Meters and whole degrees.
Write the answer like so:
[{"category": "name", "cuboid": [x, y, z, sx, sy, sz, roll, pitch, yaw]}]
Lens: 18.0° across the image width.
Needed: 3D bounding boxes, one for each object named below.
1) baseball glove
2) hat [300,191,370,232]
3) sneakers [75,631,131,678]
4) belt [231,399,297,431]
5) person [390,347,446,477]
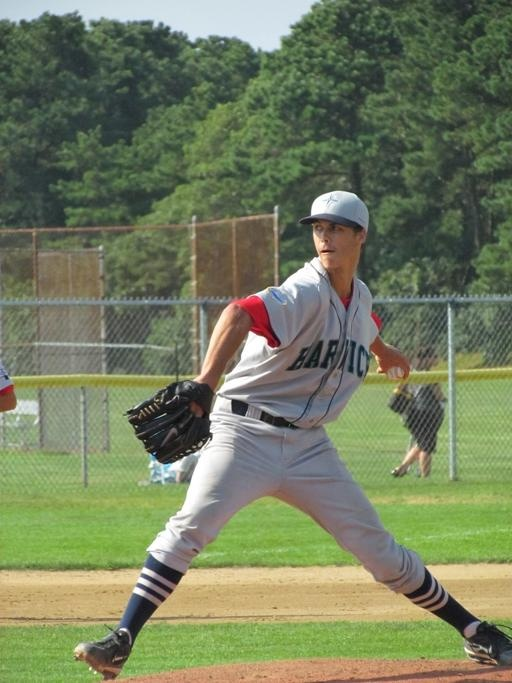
[{"category": "baseball glove", "cuboid": [-0.662, 0.453, 11.893, 0.653, 0.277, 0.549, -25, 0, -19]}, {"category": "hat", "cuboid": [0.598, -1.009, 12.096, 0.398, 0.312, 0.579, 4, 3, 8]}, {"category": "sneakers", "cuboid": [-1.079, 2.212, 11.616, 0.189, 0.279, 0.553, 7, 6, 16]}, {"category": "belt", "cuboid": [0.026, 0.542, 11.861, 0.274, 0.076, 0.261, 25, -4, -18]}, {"category": "person", "cuboid": [1.793, 0.828, 17.890, 0.513, 1.537, 0.514, 11, -32, 19]}]
